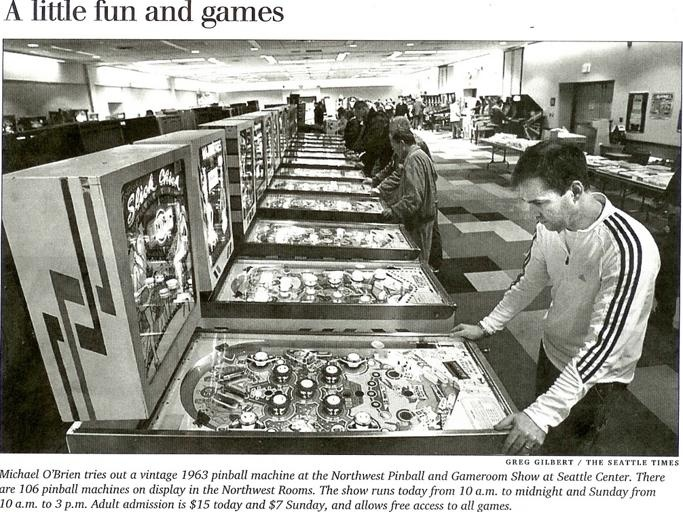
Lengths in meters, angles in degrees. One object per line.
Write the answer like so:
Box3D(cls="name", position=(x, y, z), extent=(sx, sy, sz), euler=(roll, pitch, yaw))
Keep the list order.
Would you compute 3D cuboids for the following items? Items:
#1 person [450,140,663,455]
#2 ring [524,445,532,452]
Box3D(cls="person", position=(0.840, 0.229, 2.105), extent=(0.822, 1.391, 0.657), euler=(-11, 21, -31))
Box3D(cls="ring", position=(0.705, 0.730, 1.872), extent=(0.025, 0.020, 0.026), euler=(-4, 19, 1))
